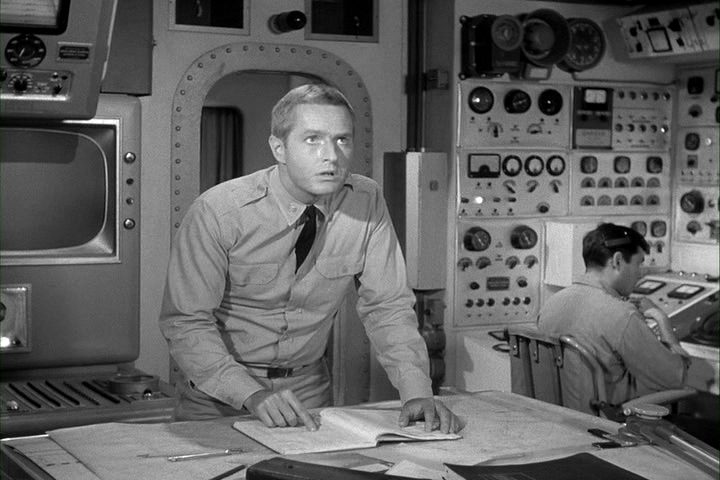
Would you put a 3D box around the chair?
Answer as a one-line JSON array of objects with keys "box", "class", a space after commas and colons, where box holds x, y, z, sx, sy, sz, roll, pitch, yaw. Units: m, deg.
[{"box": [1.457, 0.700, 3.901, 0.693, 0.627, 0.956, 1, -1, -29], "class": "chair"}]

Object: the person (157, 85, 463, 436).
[{"box": [-0.255, 0.092, 2.655, 1.093, 1.465, 0.876, -2, 5, -20], "class": "person"}]
